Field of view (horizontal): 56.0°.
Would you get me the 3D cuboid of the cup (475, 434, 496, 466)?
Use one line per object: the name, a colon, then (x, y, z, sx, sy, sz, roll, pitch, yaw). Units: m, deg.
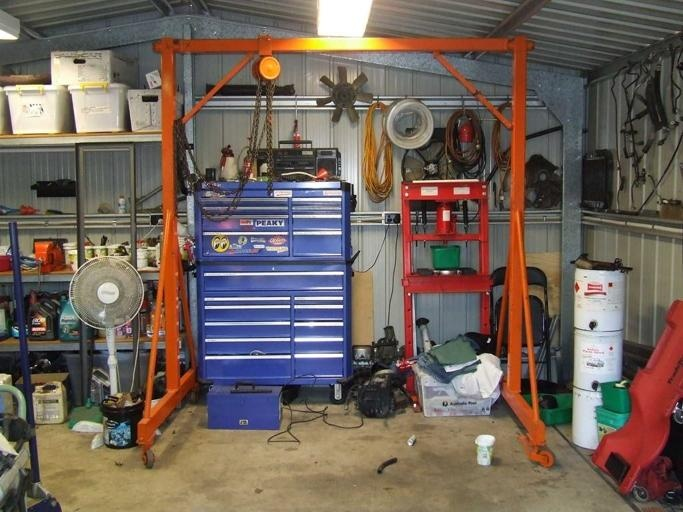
cup: (1.128, 1.511, 5.046, 0.123, 0.216, 0.175, 2, 14, 10)

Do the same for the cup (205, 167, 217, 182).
cup: (-1.335, -0.850, 6.569, 0.138, 0.124, 0.141, -1, 14, 0)

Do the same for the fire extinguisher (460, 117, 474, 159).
fire extinguisher: (1.274, -1.209, 6.575, 0.225, 0.363, 0.262, 1, -6, 0)

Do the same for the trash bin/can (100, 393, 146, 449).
trash bin/can: (-1.857, 1.381, 5.446, 0.353, 0.389, 0.382, 2, 12, -11)

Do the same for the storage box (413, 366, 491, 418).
storage box: (0.990, 1.188, 5.877, 0.441, 0.308, 0.474, 2, -1, 3)

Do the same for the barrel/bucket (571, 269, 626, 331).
barrel/bucket: (2.117, 0.411, 5.290, 0.393, 0.702, 0.416, 1, -1, 0)

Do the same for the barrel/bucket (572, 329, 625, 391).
barrel/bucket: (2.040, 0.819, 5.130, 0.366, 0.657, 0.570, 0, 1, 19)

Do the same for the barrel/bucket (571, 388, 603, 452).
barrel/bucket: (1.983, 1.308, 5.194, 0.241, 0.495, 0.118, 9, 16, 35)

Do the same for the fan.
fan: (-1.956, 0.784, 5.375, 0.590, 1.525, 0.467, 2, 13, 12)

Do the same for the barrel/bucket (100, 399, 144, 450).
barrel/bucket: (-1.849, 1.408, 5.416, 0.308, 0.343, 0.330, 2, 2, 0)

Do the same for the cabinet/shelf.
cabinet/shelf: (-2.232, 0.140, 6.024, 2.337, 2.319, 0.794, 0, -1, 1)

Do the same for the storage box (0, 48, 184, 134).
storage box: (-2.540, -1.487, 6.297, 1.095, 0.680, 0.899, -2, 4, -7)

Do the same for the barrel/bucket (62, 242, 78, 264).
barrel/bucket: (-2.665, -0.027, 6.302, 0.196, 0.213, 0.210, 0, -2, 0)
